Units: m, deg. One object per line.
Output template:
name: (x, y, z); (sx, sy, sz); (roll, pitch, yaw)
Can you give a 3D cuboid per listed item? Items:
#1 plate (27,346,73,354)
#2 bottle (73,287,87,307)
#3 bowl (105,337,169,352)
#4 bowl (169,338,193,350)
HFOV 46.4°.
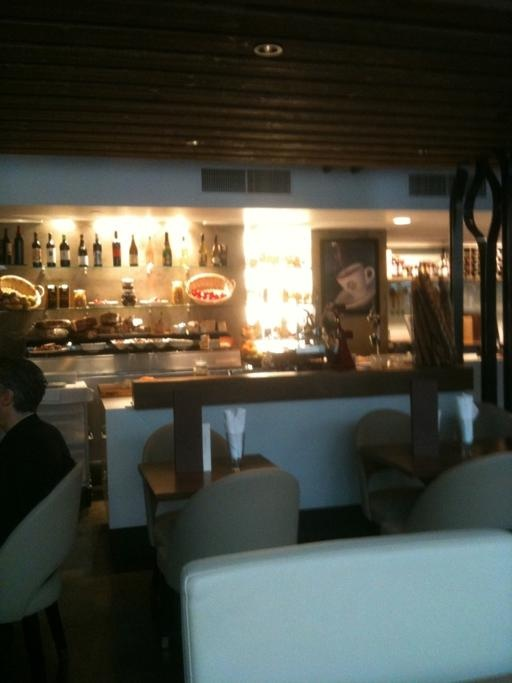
plate: (-2.031, 0.080, 6.015); (0.416, 0.092, 0.272); (-3, 1, -25)
bottle: (-1.845, -0.464, 6.375); (0.140, 0.189, 0.113); (-2, 1, -20)
bowl: (-1.196, 0.037, 6.222); (0.657, 0.134, 0.214); (-3, 1, -16)
bowl: (-0.773, 0.034, 6.383); (0.261, 0.108, 0.140); (-3, 1, -16)
